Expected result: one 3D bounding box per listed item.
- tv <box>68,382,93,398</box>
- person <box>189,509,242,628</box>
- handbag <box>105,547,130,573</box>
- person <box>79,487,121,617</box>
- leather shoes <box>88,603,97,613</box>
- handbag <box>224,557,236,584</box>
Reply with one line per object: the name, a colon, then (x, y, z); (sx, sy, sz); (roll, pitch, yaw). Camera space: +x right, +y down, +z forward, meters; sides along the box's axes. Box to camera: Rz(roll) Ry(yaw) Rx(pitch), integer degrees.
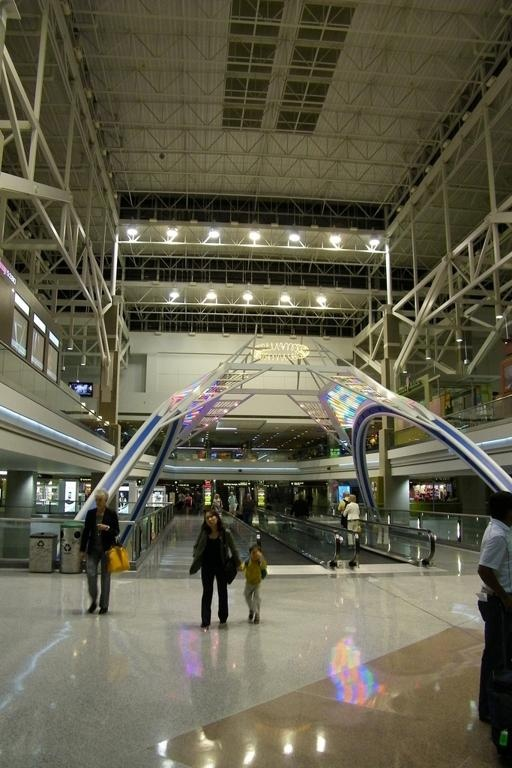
tv: (-12.452, 0.417, 36.938); (1.030, 0.785, 0.154); (9, -30, -29)
person: (-0.556, 2.441, 6.966); (0.643, 1.457, 0.958); (2, -14, -7)
handbag: (-1.977, 2.504, 7.438); (0.290, 0.335, 0.294); (5, -15, -18)
person: (-2.331, 2.463, 7.712); (0.510, 1.691, 0.990); (4, -14, -17)
leather shoes: (-2.322, 3.160, 7.340); (0.127, 0.134, 0.255); (4, -15, -16)
handbag: (-0.367, 2.488, 6.903); (0.064, 0.294, 0.200); (11, 15, 41)
